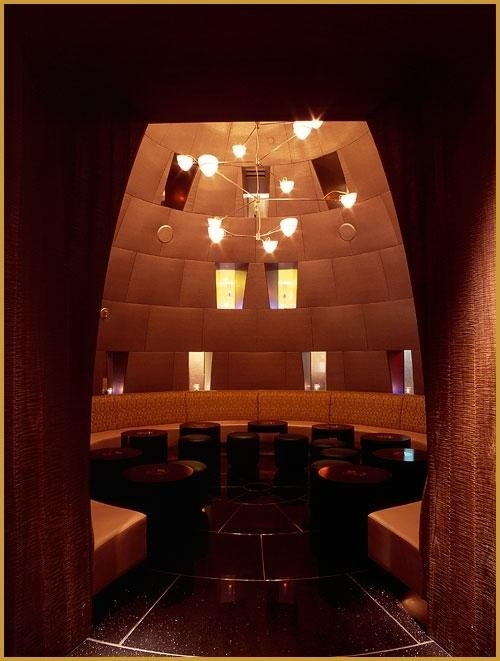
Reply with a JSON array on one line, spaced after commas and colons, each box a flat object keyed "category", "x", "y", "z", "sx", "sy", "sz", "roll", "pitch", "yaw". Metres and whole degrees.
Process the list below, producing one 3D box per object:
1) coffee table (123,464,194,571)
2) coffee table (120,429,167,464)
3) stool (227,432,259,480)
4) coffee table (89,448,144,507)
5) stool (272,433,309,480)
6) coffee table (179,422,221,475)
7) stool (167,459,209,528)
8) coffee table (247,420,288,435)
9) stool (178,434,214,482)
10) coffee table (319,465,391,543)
[{"category": "coffee table", "x": -0.651, "y": 1.433, "z": 3.633, "sx": 0.474, "sy": 0.614, "sz": 0.541, "roll": 1, "pitch": 3, "yaw": 1}, {"category": "coffee table", "x": -1.272, "y": 1.379, "z": 5.660, "sx": 0.438, "sy": 0.364, "sz": 0.454, "roll": 3, "pitch": -3, "yaw": -24}, {"category": "stool", "x": -0.072, "y": 1.598, "z": 6.057, "sx": 0.395, "sy": 0.414, "sz": 0.382, "roll": 0, "pitch": -2, "yaw": -3}, {"category": "coffee table", "x": -1.239, "y": 1.256, "z": 4.051, "sx": 0.362, "sy": 0.315, "sz": 0.393, "roll": 2, "pitch": 3, "yaw": 8}, {"category": "stool", "x": 0.515, "y": 1.532, "z": 5.678, "sx": 0.377, "sy": 0.516, "sz": 0.427, "roll": 2, "pitch": 3, "yaw": 12}, {"category": "coffee table", "x": -0.621, "y": 1.487, "z": 5.831, "sx": 0.468, "sy": 0.618, "sz": 0.509, "roll": 0, "pitch": -3, "yaw": 4}, {"category": "stool", "x": -0.432, "y": 1.450, "z": 3.993, "sx": 0.443, "sy": 0.585, "sz": 0.479, "roll": 2, "pitch": 3, "yaw": -3}, {"category": "coffee table", "x": 0.245, "y": 1.438, "z": 6.657, "sx": 0.536, "sy": 0.235, "sz": 0.761, "roll": 0, "pitch": -3, "yaw": -2}, {"category": "stool", "x": -0.613, "y": 1.529, "z": 5.490, "sx": 0.484, "sy": 0.631, "sz": 0.525, "roll": 0, "pitch": -7, "yaw": 0}, {"category": "coffee table", "x": 0.808, "y": 1.383, "z": 3.629, "sx": 0.542, "sy": 0.486, "sz": 0.646, "roll": 0, "pitch": -3, "yaw": -5}]
